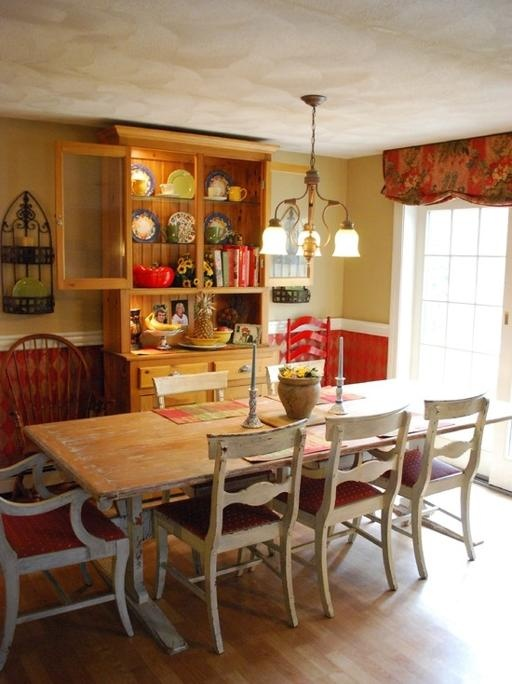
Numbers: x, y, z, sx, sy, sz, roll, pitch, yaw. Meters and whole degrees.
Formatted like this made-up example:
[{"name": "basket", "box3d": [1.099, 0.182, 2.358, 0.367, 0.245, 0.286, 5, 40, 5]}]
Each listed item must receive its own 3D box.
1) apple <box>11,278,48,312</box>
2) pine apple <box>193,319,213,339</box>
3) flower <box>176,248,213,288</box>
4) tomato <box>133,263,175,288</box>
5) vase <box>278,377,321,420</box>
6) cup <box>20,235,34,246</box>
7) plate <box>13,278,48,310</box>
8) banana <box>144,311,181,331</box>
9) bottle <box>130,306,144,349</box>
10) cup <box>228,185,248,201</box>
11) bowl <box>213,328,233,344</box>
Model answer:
[{"name": "apple", "box3d": [-1.351, -0.286, 3.299, 0.199, 0.154, 0.222, 2, 14, -6]}, {"name": "pine apple", "box3d": [-0.356, -0.091, 3.860, 0.137, 0.157, 0.134, 0, 2, -2]}, {"name": "flower", "box3d": [-0.418, -0.502, 3.783, 0.273, 0.184, 0.235, -3, 4, -39]}, {"name": "tomato", "box3d": [-0.681, -0.428, 3.625, 0.185, 0.124, 0.187, 3, 2, 6]}, {"name": "vase", "box3d": [0.192, 0.248, 2.498, 0.206, 0.188, 0.203, 4, 5, 18]}, {"name": "cup", "box3d": [-1.401, -0.619, 3.340, 0.073, 0.064, 0.067, 4, 13, -1]}, {"name": "plate", "box3d": [-1.355, -0.294, 3.287, 0.192, 0.147, 0.212, 1, 10, -2]}, {"name": "banana", "box3d": [-0.622, -0.144, 3.748, 0.301, 0.175, 0.096, 5, 5, -3]}, {"name": "bottle", "box3d": [-0.801, -0.092, 3.652, 0.067, 0.265, 0.256, 1, 4, -9]}, {"name": "cup", "box3d": [-0.141, -1.079, 4.012, 0.155, 0.103, 0.095, 6, -6, -42]}, {"name": "bowl", "box3d": [-0.248, -0.044, 4.017, 0.121, 0.071, 0.119, -1, 0, 0]}]
